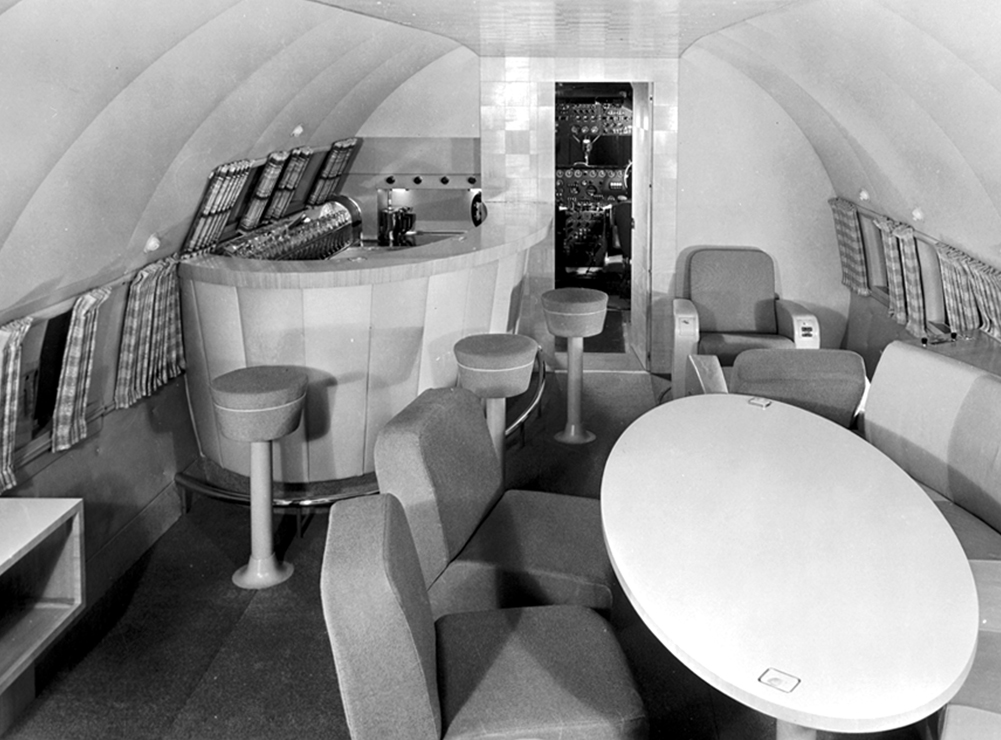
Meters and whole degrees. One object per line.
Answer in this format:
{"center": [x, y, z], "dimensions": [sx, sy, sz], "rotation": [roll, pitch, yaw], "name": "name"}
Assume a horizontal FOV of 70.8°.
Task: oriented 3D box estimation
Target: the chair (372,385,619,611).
{"center": [0.158, 0.359, 2.780], "dimensions": [0.907, 0.921, 0.672], "rotation": [1, 26, 11], "name": "chair"}

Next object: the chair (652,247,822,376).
{"center": [1.937, -0.570, 5.819], "dimensions": [1.066, 1.246, 1.134], "rotation": [1, 7, 4], "name": "chair"}

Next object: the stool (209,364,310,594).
{"center": [-1.200, 0.539, 3.600], "dimensions": [0.434, 1.039, 0.438], "rotation": [1, 15, 3], "name": "stool"}
